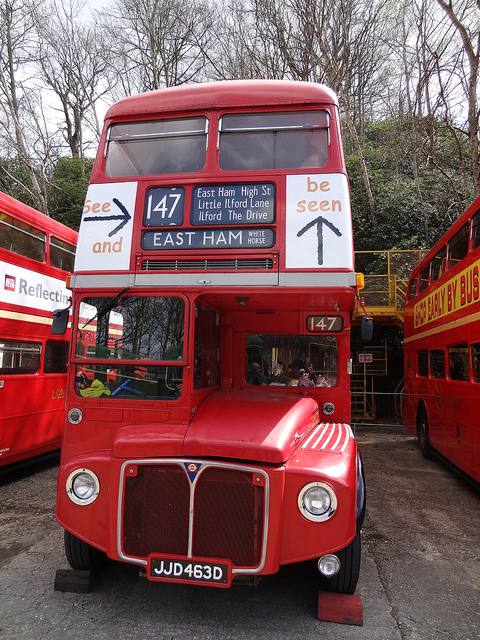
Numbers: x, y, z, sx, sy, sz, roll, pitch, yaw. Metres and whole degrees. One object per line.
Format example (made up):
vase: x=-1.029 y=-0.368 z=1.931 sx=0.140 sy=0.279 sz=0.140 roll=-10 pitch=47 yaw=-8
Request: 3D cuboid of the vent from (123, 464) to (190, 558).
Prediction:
vent: x=-0.528 y=1.276 z=2.934 sx=0.557 sy=0.777 sz=0.080 roll=-2 pitch=-11 yaw=13

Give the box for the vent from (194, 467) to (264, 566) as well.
vent: x=-0.051 y=1.261 z=2.815 sx=0.551 sy=0.682 sz=0.066 roll=1 pitch=-10 yaw=14
